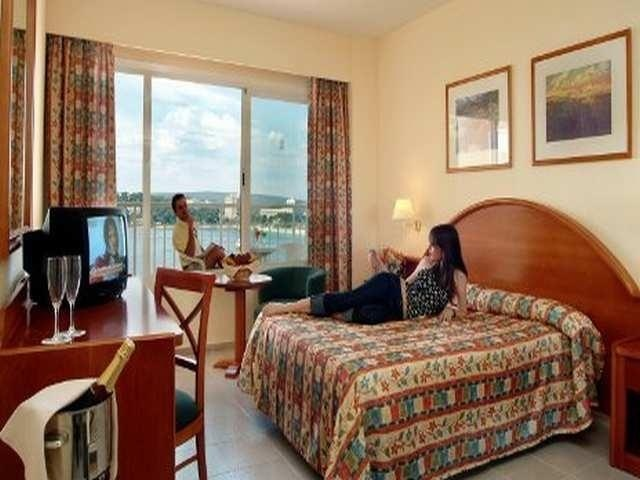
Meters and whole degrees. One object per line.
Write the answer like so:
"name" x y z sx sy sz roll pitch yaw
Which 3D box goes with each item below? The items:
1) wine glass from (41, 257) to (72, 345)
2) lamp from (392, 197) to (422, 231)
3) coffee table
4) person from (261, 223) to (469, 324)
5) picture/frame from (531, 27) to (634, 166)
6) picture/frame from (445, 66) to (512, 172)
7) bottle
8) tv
"wine glass" -1.100 0.221 1.979 0.121 0.343 0.352 -8 13 -31
"lamp" 0.938 -0.242 5.209 0.266 0.362 0.285 -1 -7 5
"coffee table" -0.776 0.795 4.629 0.567 0.863 0.600 -3 -2 21
"person" 0.399 0.216 4.006 1.525 0.836 0.764 -4 6 -16
"picture/frame" 2.025 -1.075 3.768 0.145 0.974 0.849 -8 13 -32
"picture/frame" 1.489 -1.103 4.525 0.137 0.942 0.800 -8 13 -32
"bottle" -0.596 0.367 1.369 0.161 0.188 0.063 0 11 4
"tv" -1.269 0.081 2.506 0.325 0.574 0.614 3 6 -1
